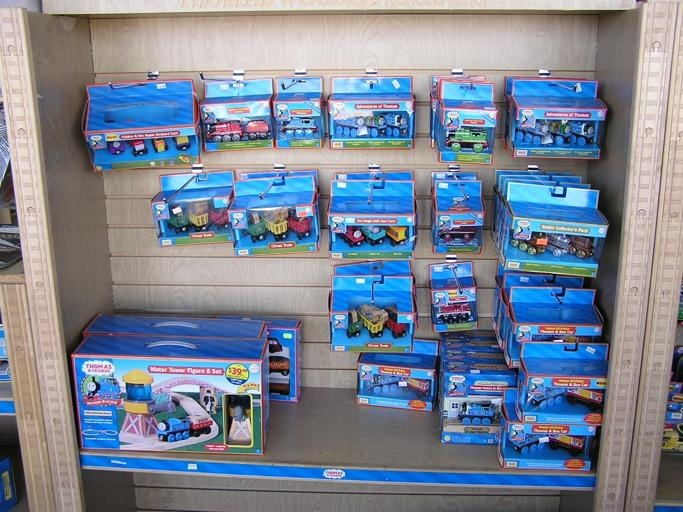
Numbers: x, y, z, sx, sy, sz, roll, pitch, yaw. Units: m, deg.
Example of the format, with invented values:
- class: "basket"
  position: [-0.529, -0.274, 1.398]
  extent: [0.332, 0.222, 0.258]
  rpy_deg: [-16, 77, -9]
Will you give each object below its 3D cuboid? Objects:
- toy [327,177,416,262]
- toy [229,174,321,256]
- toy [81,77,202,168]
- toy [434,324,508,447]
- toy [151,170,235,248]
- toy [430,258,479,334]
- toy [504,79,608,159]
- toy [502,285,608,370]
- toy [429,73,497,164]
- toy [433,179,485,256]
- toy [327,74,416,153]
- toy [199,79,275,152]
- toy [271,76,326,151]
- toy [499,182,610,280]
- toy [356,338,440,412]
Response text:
- class: "toy"
  position: [0.161, -0.176, 2.754]
  extent: [0.407, 0.326, 0.223]
  rpy_deg: [1, 24, 13]
- class: "toy"
  position: [-0.297, -0.200, 2.779]
  extent: [0.409, 0.313, 0.212]
  rpy_deg: [-4, 20, 18]
- class: "toy"
  position: [-0.934, -0.611, 2.743]
  extent: [0.436, 0.312, 0.221]
  rpy_deg: [-3, 52, -4]
- class: "toy"
  position: [0.590, 0.599, 2.919]
  extent: [0.564, 0.506, 0.404]
  rpy_deg: [-1, 10, 2]
- class: "toy"
  position: [-0.681, -0.222, 2.849]
  extent: [0.395, 0.293, 0.214]
  rpy_deg: [-3, 29, 5]
- class: "toy"
  position: [0.556, 0.206, 2.995]
  extent: [0.257, 0.319, 0.199]
  rpy_deg: [-8, 23, -3]
- class: "toy"
  position: [0.964, -0.643, 2.719]
  extent: [0.409, 0.310, 0.299]
  rpy_deg: [-1, 29, 0]
- class: "toy"
  position: [0.925, 0.247, 2.742]
  extent: [0.523, 0.450, 0.354]
  rpy_deg: [0, 7, 3]
- class: "toy"
  position: [0.540, -0.612, 2.682]
  extent: [0.281, 0.404, 0.314]
  rpy_deg: [0, 16, 7]
- class: "toy"
  position: [0.550, -0.204, 2.861]
  extent: [0.246, 0.317, 0.237]
  rpy_deg: [0, 32, 3]
- class: "toy"
  position: [0.137, -0.665, 2.725]
  extent: [0.377, 0.277, 0.120]
  rpy_deg: [0, 18, 1]
- class: "toy"
  position: [-0.489, -0.665, 2.776]
  extent: [0.341, 0.299, 0.177]
  rpy_deg: [0, 18, -1]
- class: "toy"
  position: [-0.223, -0.676, 2.836]
  extent: [0.263, 0.312, 0.197]
  rpy_deg: [-3, 22, -10]
- class: "toy"
  position: [1.006, -0.100, 2.592]
  extent: [0.283, 0.310, 0.377]
  rpy_deg: [-12, 14, -41]
- class: "toy"
  position: [0.250, 0.634, 3.263]
  extent: [0.291, 0.386, 0.538]
  rpy_deg: [22, -25, -18]
